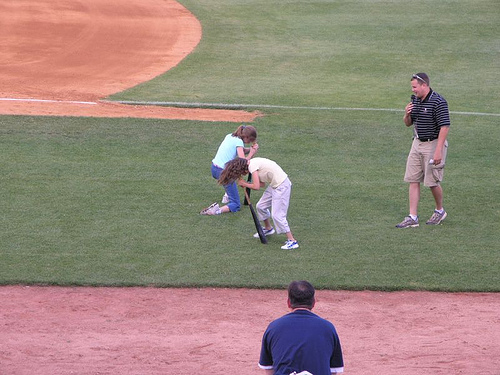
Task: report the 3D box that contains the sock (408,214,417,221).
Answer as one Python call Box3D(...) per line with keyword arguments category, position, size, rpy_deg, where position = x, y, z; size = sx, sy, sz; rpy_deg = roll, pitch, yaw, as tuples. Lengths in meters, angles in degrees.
Box3D(category="sock", position=(4.656, 0.864, 40.327), size=(0.192, 0.165, 0.066), rpy_deg=(-5, 11, 5))

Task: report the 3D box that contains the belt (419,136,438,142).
Box3D(category="belt", position=(5.039, -1.363, 39.866), size=(0.529, 0.136, 0.034), rpy_deg=(-2, 12, 15))

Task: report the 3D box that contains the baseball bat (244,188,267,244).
Box3D(category="baseball bat", position=(0.134, 0.863, 40.258), size=(0.182, 1.699, 0.186), rpy_deg=(-18, -13, -46))

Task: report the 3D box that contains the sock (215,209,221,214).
Box3D(category="sock", position=(-0.917, 0.713, 40.934), size=(0.163, 0.114, 0.032), rpy_deg=(-10, 11, -26))
